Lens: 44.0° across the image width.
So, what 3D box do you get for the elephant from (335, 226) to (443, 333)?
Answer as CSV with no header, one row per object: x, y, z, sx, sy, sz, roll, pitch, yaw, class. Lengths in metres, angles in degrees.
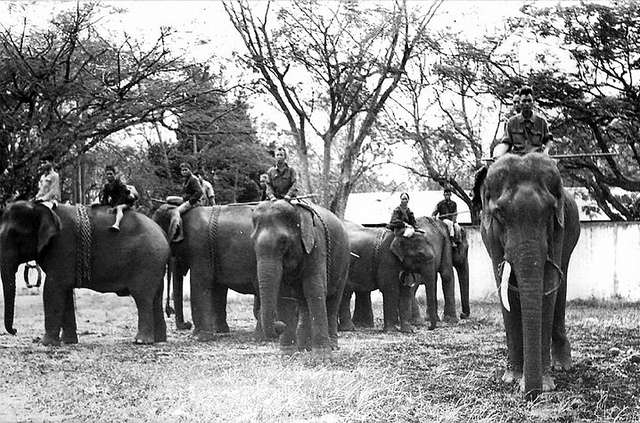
1.306,1.421,16.387,2.697,2.096,1.127,-4,-9,36,elephant

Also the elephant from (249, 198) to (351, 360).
-0.342,1.062,12.434,1.073,2.501,2.110,3,6,31,elephant

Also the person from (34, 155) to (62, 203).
-4.736,-0.565,13.622,0.415,0.782,0.920,-2,5,-19,person

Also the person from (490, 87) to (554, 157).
2.825,-1.167,10.965,0.781,0.987,0.592,-3,21,7,person

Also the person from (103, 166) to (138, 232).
-3.457,-0.181,13.674,0.611,1.114,0.647,0,-9,-18,person

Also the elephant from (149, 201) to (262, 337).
-1.938,1.067,14.965,2.834,2.429,1.382,-1,4,5,elephant
